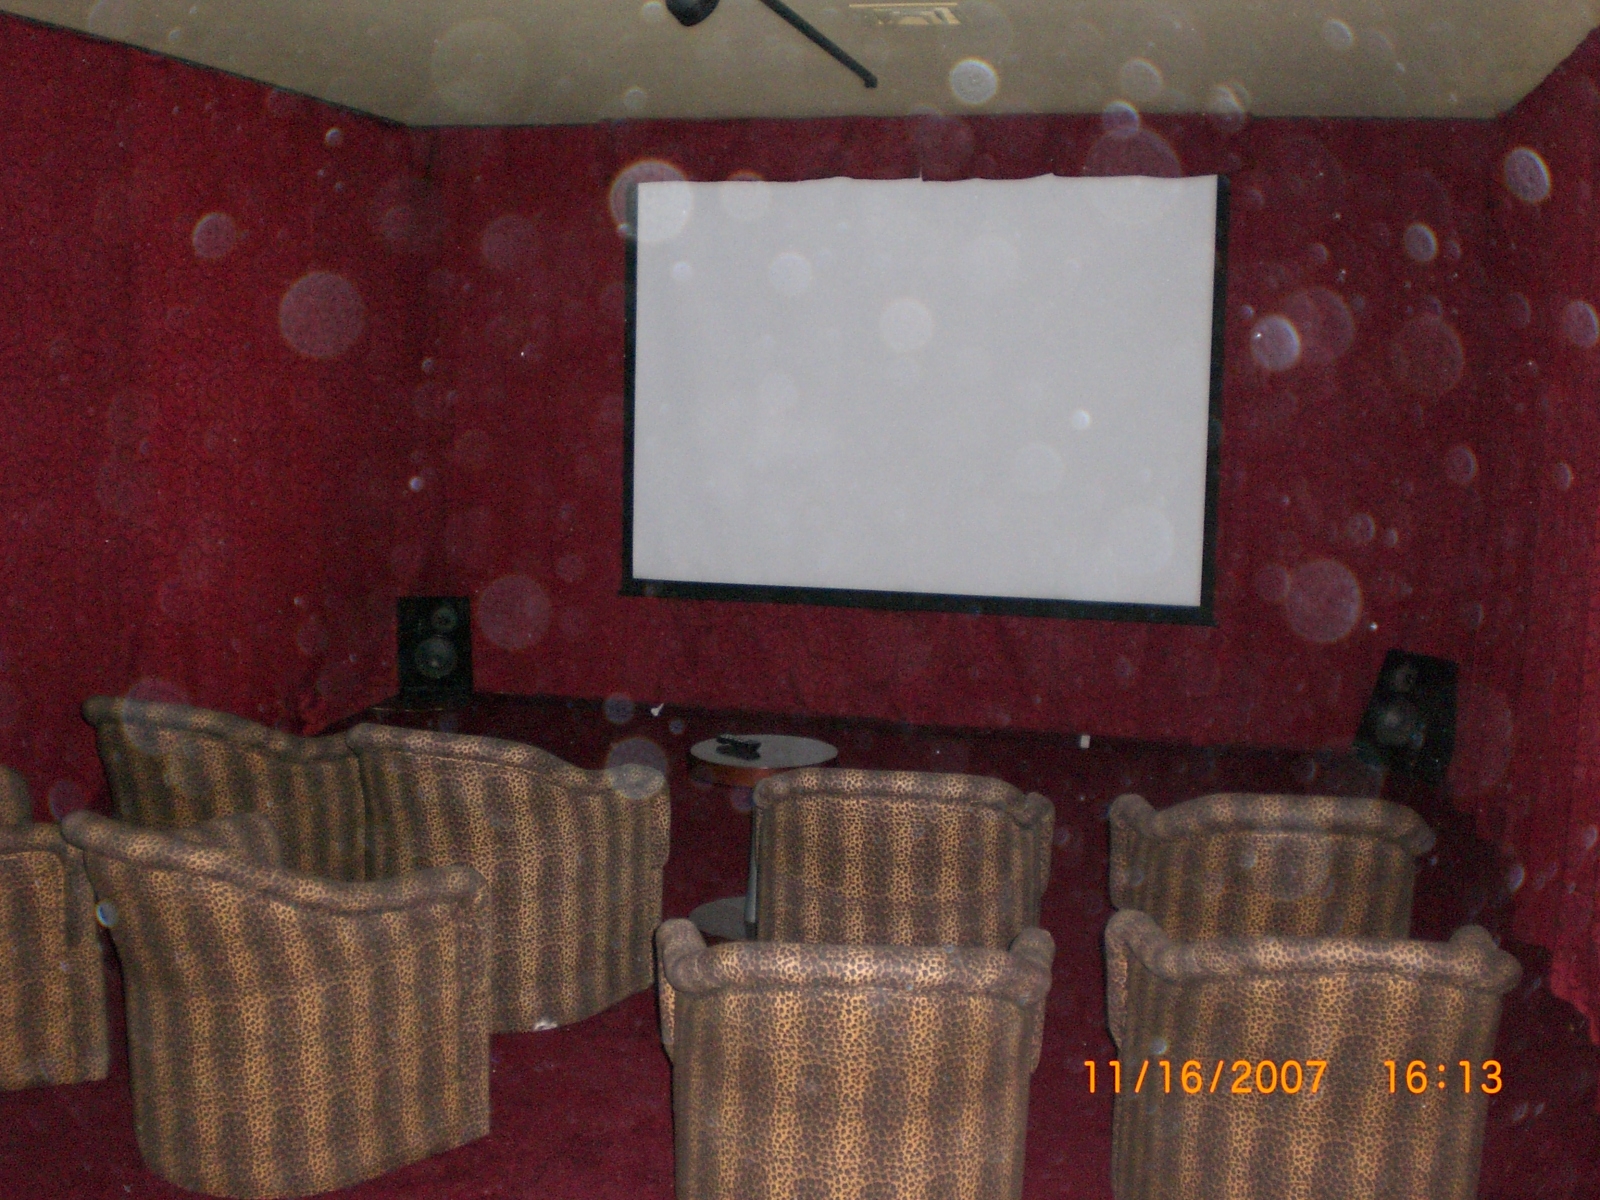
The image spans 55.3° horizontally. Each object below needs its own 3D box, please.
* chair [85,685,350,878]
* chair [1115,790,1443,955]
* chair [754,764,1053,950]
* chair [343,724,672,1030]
[{"bbox_3d":[-1.742,0.556,4.866,0.641,0.803,0.573,2,10,8],"label":"chair"},{"bbox_3d":[1.279,0.707,4.161,0.554,0.266,0.519,0,1,-4],"label":"chair"},{"bbox_3d":[0.253,0.760,4.298,0.539,0.631,0.675,2,-21,0],"label":"chair"},{"bbox_3d":[-0.925,0.786,4.890,0.910,0.958,0.894,3,11,18],"label":"chair"}]
